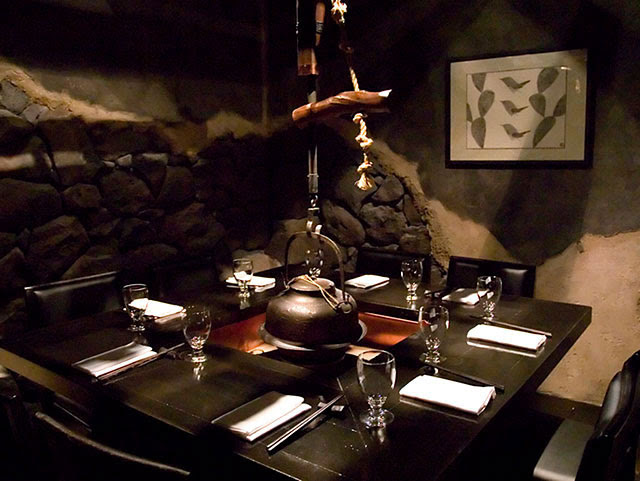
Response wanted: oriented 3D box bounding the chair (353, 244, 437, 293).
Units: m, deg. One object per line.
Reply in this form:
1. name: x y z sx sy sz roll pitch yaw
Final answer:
1. chair: 0.424 0.090 3.145 0.449 0.306 0.246 3 0 33

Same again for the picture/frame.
1. picture/frame: 1.340 -0.883 3.243 0.930 0.672 0.035 3 6 34

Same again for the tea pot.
1. tea pot: -0.014 0.160 1.957 0.400 0.425 0.411 0 3 0
